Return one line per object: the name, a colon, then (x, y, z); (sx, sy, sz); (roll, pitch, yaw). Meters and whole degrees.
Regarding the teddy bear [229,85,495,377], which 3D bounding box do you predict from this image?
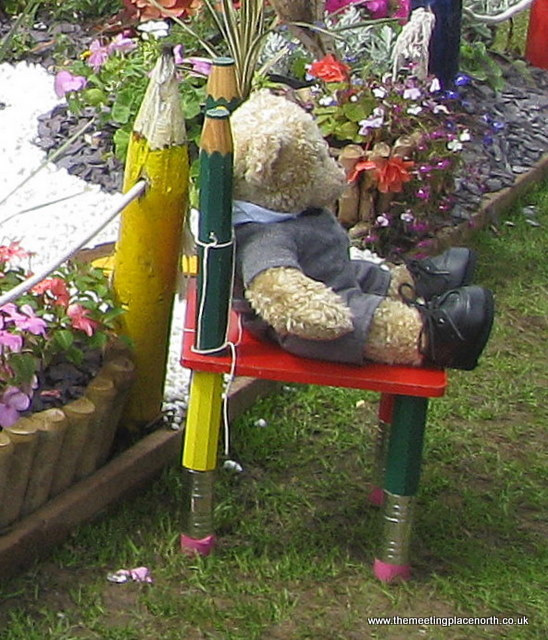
teddy bear: (0.196, -0.198, 1.455); (0.622, 0.630, 0.378); (10, 22, 25)
